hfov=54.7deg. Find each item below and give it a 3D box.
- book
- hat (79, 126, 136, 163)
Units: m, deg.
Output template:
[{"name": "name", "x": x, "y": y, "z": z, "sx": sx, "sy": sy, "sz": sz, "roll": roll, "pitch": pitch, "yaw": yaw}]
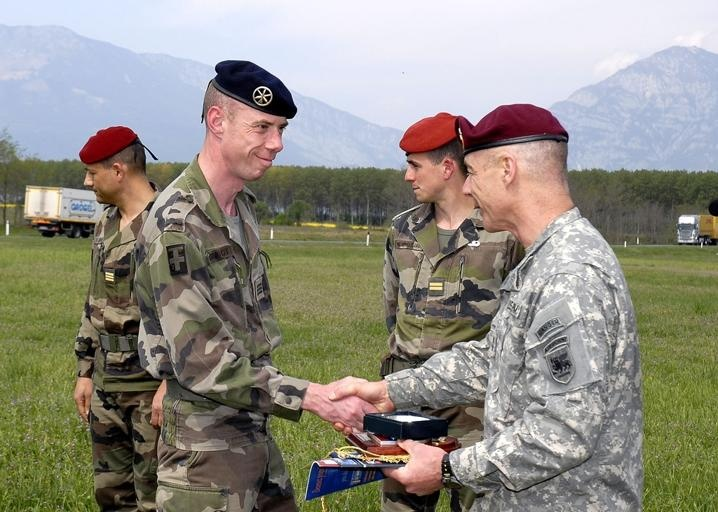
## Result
[{"name": "book", "x": -0.033, "y": 1.353, "z": 4.559, "sx": 0.494, "sy": 0.182, "sz": 0.393, "roll": -5, "pitch": -10, "yaw": 32}, {"name": "hat", "x": -2.423, "y": -0.958, "z": 6.782, "sx": 0.431, "sy": 0.131, "sz": 0.429, "roll": -25, "pitch": 21, "yaw": 6}]
